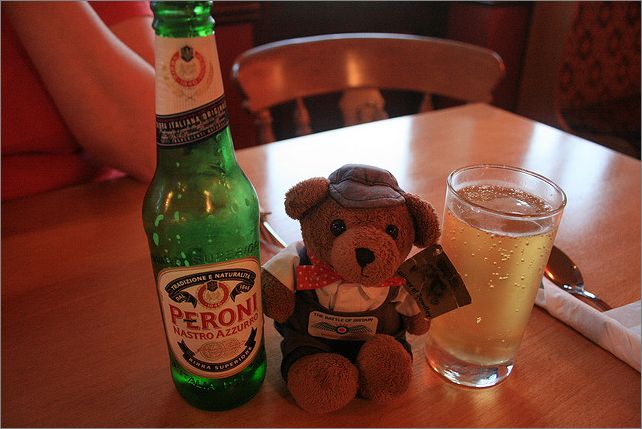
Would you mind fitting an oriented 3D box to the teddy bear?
[{"bbox_3d":[0.048,0.105,0.699,0.265,0.277,0.229,-13,43,-10],"label":"teddy bear"}]

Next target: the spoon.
[{"bbox_3d":[0.427,0.105,0.881,0.048,0.029,0.172,-14,40,-21],"label":"spoon"}]
